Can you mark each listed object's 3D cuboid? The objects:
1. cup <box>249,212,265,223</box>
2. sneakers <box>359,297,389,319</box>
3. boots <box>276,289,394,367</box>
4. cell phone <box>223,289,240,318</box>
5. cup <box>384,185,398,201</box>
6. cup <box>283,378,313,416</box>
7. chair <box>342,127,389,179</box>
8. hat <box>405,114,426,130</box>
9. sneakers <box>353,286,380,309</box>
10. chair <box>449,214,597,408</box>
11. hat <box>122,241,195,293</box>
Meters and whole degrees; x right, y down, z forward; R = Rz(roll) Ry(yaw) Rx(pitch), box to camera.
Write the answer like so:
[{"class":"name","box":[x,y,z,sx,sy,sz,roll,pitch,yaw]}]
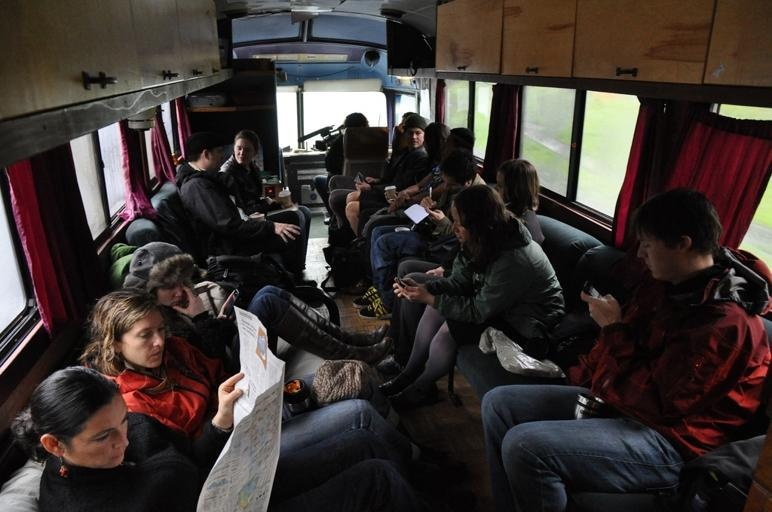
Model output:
[{"class":"cup","box":[-1.158,-0.324,4.491,0.142,0.102,0.083,2,35,8]},{"class":"sneakers","box":[-0.104,0.470,4.525,0.336,0.139,0.120,3,33,2]},{"class":"boots","box":[-0.386,0.460,3.444,1.013,0.470,0.341,4,30,-22]},{"class":"cell phone","box":[-0.961,0.295,3.107,0.051,0.052,0.213,26,33,-16]},{"class":"cup","box":[0.053,-0.661,5.305,0.156,0.152,0.154,-1,11,0]},{"class":"cup","box":[-0.459,0.743,2.625,0.158,0.142,0.151,0,27,0]},{"class":"chair","box":[-0.268,-1.413,6.891,0.638,0.844,0.688,0,18,-6]},{"class":"hat","box":[0.345,-1.617,6.049,0.186,0.184,0.241,7,25,9]},{"class":"sneakers","box":[-0.170,0.389,4.710,0.360,0.151,0.120,-14,43,28]},{"class":"chair","box":[0.844,0.262,3.419,0.939,0.962,1.171,-9,20,-16]},{"class":"hat","box":[-1.231,0.095,2.806,0.347,0.290,0.254,-10,-12,2]}]
